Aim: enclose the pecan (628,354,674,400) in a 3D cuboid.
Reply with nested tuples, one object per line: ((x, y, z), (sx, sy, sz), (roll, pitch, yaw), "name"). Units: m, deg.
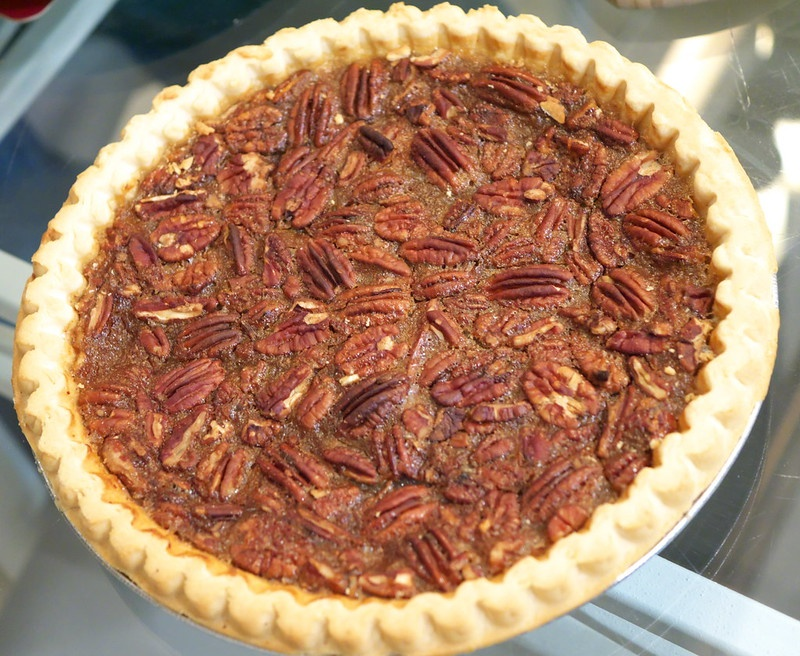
((0.927, 0.190, 3.163), (0.088, 0.043, 0.169), (-33, 82, -8), "pecan")

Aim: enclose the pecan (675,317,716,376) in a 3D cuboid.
((1.107, 0.068, 3.225), (0.128, 0.049, 0.193), (10, 78, 15), "pecan")

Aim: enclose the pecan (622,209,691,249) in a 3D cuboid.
((1.044, -0.419, 3.427), (0.218, 0.060, 0.127), (26, 67, 22), "pecan")

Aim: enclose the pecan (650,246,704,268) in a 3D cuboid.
((1.095, -0.283, 3.378), (0.143, 0.039, 0.092), (5, 52, 2), "pecan")

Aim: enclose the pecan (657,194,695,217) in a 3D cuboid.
((1.123, -0.496, 3.456), (0.121, 0.030, 0.081), (31, 67, 18), "pecan")
